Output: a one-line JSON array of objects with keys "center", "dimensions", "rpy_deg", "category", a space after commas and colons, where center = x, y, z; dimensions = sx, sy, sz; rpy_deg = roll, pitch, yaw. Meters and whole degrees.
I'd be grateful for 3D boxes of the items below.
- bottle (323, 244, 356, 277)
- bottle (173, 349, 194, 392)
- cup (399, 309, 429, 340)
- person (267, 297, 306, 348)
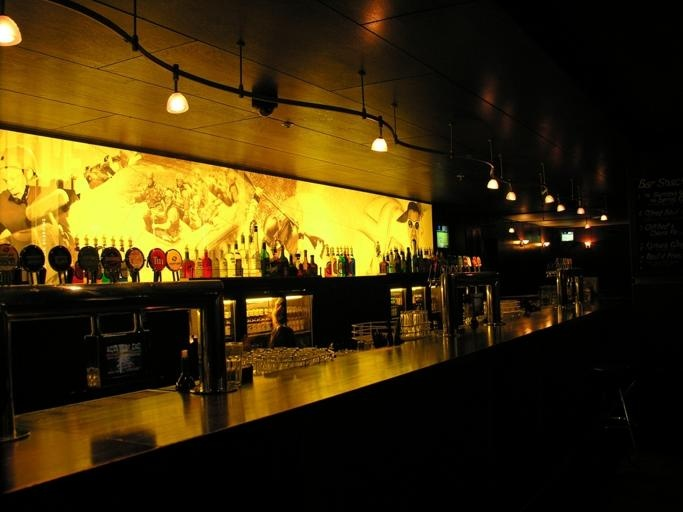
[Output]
[{"center": [-0.058, 0.065, 8.035], "dimensions": [0.370, 0.542, 0.161], "rpy_deg": [1, -10, -9], "category": "bottle"}, {"center": [-0.832, 0.597, 3.154], "dimensions": [0.089, 0.210, 0.245], "rpy_deg": [-3, -5, -16], "category": "bottle"}, {"center": [0.583, 0.557, 4.917], "dimensions": [0.205, 0.152, 0.213], "rpy_deg": [0, -2, 0], "category": "cup"}, {"center": [-0.623, 0.712, 6.423], "dimensions": [0.350, 0.562, 0.832], "rpy_deg": [-4, -5, -5], "category": "person"}]
